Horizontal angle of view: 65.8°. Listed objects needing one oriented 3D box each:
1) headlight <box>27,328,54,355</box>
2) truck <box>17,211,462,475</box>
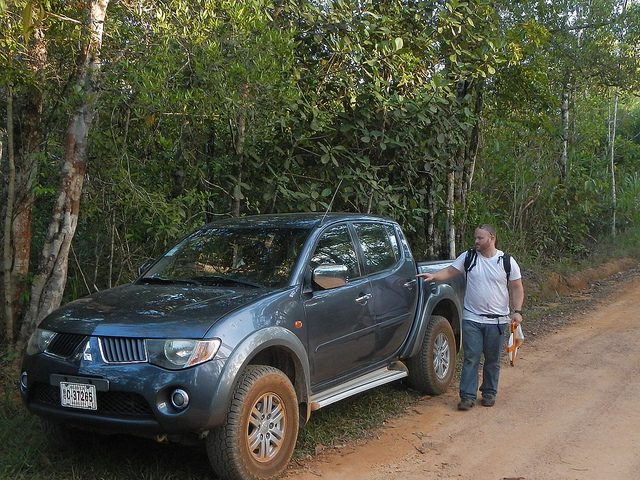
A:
[{"bbox_3d":[-2.310,0.839,4.080,0.329,0.216,0.117,5,7,40],"label":"headlight"},{"bbox_3d":[-0.198,0.852,5.150,2.288,1.652,4.136,-7,-7,33],"label":"truck"}]
